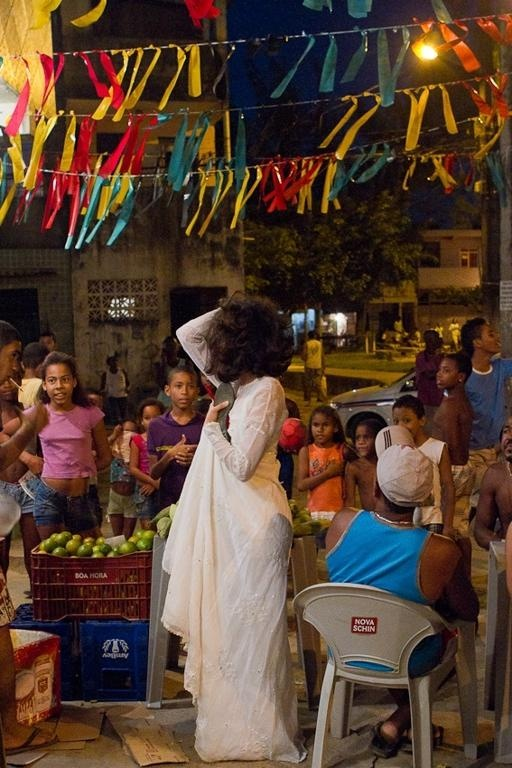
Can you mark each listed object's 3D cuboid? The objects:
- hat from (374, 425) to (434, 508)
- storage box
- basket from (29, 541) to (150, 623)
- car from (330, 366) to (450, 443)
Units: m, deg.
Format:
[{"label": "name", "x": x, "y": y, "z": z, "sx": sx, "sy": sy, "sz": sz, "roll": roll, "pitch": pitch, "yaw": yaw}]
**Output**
[{"label": "hat", "x": 0.572, "y": 0.303, "z": 2.515, "sx": 0.189, "sy": 0.334, "sz": 0.551, "roll": -3, "pitch": -11, "yaw": 13}, {"label": "storage box", "x": -1.067, "y": 1.352, "z": 3.011, "sx": 0.294, "sy": 0.435, "sz": 0.290, "roll": 3, "pitch": -6, "yaw": -19}, {"label": "basket", "x": -0.833, "y": 0.993, "z": 3.527, "sx": 0.644, "sy": 0.369, "sz": 0.568, "roll": -2, "pitch": -1, "yaw": -3}, {"label": "car", "x": 1.901, "y": 0.330, "z": 10.738, "sx": 1.987, "sy": 1.026, "sz": 1.487, "roll": 7, "pitch": 11, "yaw": 44}]
